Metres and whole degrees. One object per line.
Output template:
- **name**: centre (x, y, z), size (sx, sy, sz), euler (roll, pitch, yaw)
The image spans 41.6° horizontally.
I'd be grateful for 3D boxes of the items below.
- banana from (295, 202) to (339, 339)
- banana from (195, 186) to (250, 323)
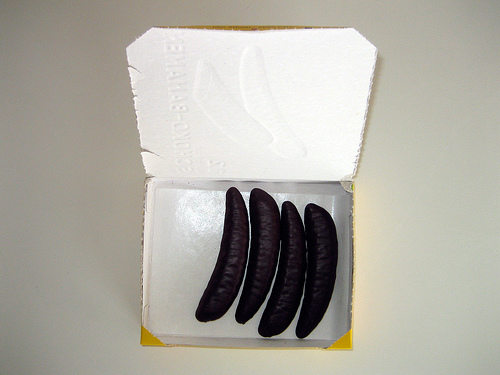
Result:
- **banana**: centre (0.210, 0.267, 2.055), size (0.111, 0.422, 0.064), euler (6, 0, 5)
- **banana**: centre (-0.073, 0.212, 2.063), size (0.116, 0.431, 0.110), euler (6, 0, 33)
